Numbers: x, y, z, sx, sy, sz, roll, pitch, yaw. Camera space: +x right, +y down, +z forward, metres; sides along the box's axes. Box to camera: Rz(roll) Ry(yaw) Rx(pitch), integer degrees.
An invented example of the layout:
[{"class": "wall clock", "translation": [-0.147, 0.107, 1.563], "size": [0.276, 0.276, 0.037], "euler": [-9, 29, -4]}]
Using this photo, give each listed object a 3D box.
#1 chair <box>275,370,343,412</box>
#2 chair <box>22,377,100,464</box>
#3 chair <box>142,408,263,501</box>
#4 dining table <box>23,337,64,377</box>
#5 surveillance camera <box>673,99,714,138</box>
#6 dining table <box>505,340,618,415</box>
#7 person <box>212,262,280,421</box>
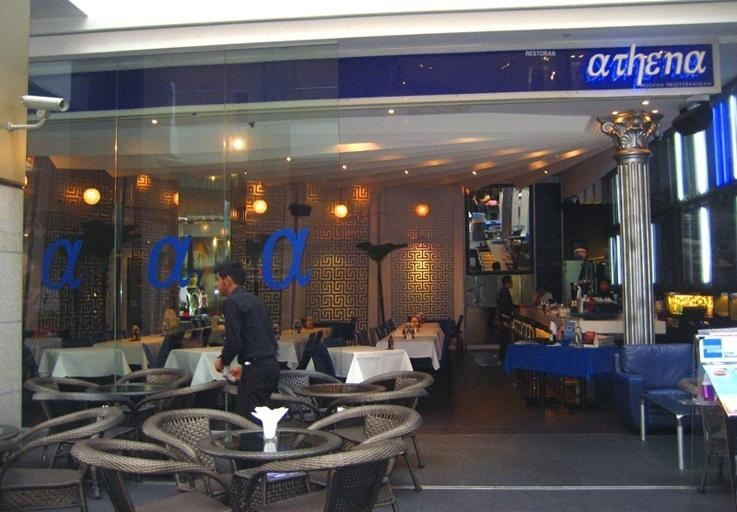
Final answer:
[{"class": "chair", "translation": [-0.730, 1.409, 7.465], "size": [0.515, 0.452, 0.504], "euler": [1, 0, 26]}, {"class": "chair", "translation": [-3.325, 1.655, 7.275], "size": [0.597, 0.873, 0.596], "euler": [0, 2, -31]}, {"class": "chair", "translation": [-1.420, 1.730, 5.709], "size": [0.768, 0.711, 0.764], "euler": [-6, -5, 39]}, {"class": "dining table", "translation": [-3.745, 1.149, 7.942], "size": [0.434, 0.428, 0.437], "euler": [1, -2, -10]}, {"class": "surveillance camera", "translation": [4.374, -1.861, 9.172], "size": [0.197, 0.396, 0.530], "euler": [-1, 4, -18]}, {"class": "dining table", "translation": [2.741, 1.696, 9.717], "size": [1.088, 0.868, 1.700], "euler": [1, -1, 5]}, {"class": "person", "translation": [-1.134, 0.807, 6.597], "size": [0.548, 1.460, 0.625], "euler": [1, 0, -1]}]
